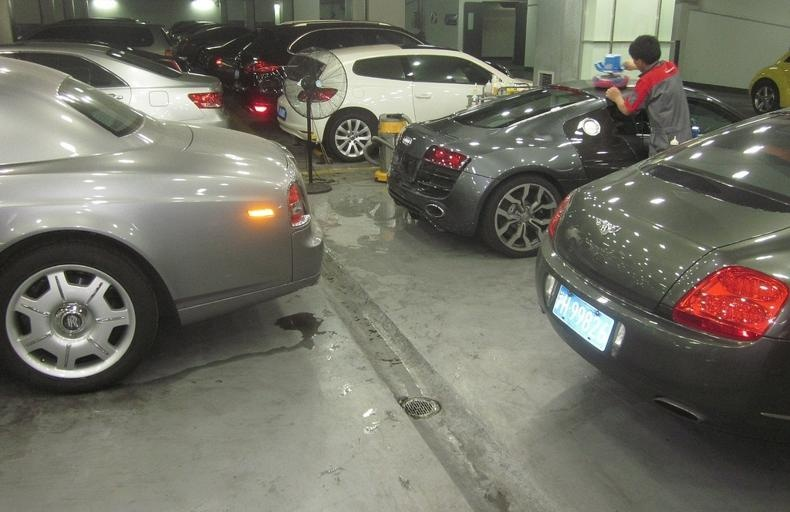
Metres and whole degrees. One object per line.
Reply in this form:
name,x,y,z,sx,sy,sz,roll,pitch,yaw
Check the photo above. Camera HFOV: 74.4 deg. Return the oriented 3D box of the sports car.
sports car,1.712,-1.356,6.449,4.608,1.424,2.474,-29,16,-23
